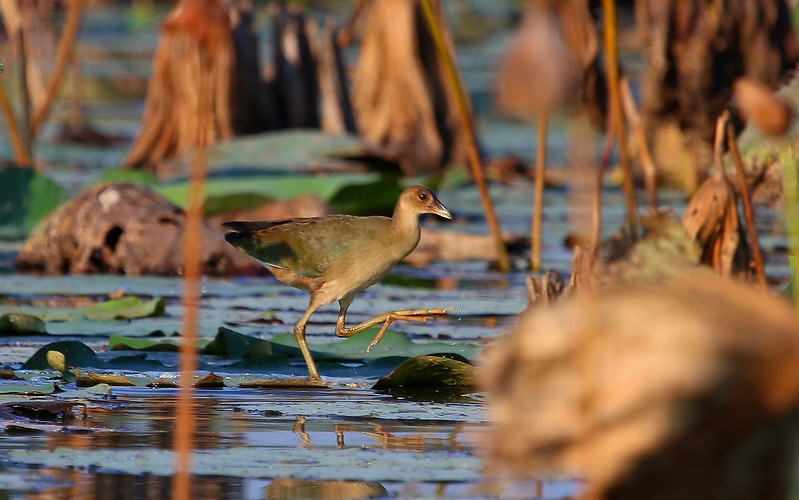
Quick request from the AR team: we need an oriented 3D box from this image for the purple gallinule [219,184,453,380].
[{"bbox_3d":[-0.227,0.099,6.353,1.039,0.730,0.443,0,6,22],"label":"purple gallinule"}]
